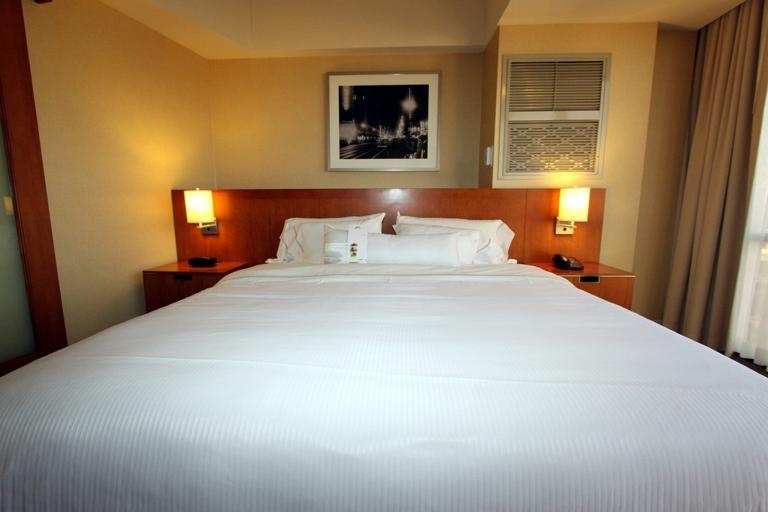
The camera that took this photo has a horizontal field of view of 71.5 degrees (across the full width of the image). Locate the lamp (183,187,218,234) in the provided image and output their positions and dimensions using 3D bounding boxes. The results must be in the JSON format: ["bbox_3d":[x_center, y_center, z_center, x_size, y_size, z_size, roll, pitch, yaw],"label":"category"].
[{"bbox_3d":[-1.618,-0.379,4.764,0.236,0.397,0.265,-3,5,-6],"label":"lamp"}]

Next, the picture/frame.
[{"bbox_3d":[0.032,-1.306,4.995,0.965,0.794,0.041,0,6,1],"label":"picture/frame"}]

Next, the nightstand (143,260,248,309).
[{"bbox_3d":[-1.696,0.222,4.674,0.605,0.576,0.435,0,9,0],"label":"nightstand"}]

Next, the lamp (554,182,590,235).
[{"bbox_3d":[1.606,-0.376,4.580,0.241,0.407,0.257,2,4,-6],"label":"lamp"}]

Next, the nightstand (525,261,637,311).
[{"bbox_3d":[1.683,0.230,4.497,0.655,0.610,0.450,0,29,6],"label":"nightstand"}]
